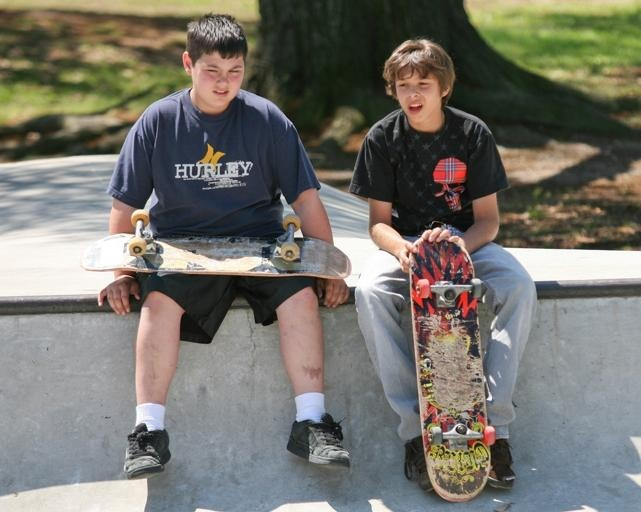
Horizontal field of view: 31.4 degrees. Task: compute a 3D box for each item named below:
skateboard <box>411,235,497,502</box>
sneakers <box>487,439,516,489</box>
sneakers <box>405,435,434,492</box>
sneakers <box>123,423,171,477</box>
[{"bbox_3d":[0.845,0.729,7.553,0.456,1.720,0.266,2,-8,-14],"label":"skateboard"},{"bbox_3d":[1.204,1.383,7.641,0.196,0.311,0.094,0,-3,4],"label":"sneakers"},{"bbox_3d":[0.640,1.416,7.642,0.140,0.400,0.181,6,17,18],"label":"sneakers"},{"bbox_3d":[-1.142,1.272,7.452,0.286,0.300,0.252,-7,22,-3],"label":"sneakers"}]
